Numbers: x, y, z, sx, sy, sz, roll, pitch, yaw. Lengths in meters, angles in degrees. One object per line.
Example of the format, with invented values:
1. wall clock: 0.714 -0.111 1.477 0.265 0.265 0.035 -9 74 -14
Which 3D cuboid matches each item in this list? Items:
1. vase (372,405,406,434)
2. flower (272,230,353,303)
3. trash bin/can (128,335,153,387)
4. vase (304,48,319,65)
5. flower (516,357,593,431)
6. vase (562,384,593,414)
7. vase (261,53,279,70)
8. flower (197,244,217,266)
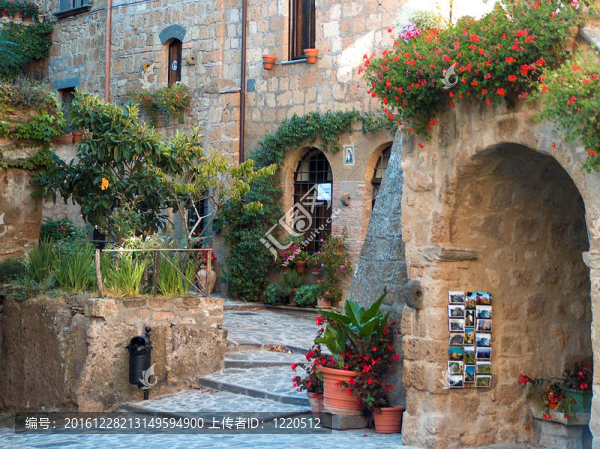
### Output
1. vase: 0.945 2.037 7.914 0.263 0.218 0.280 2 -2 -18
2. flower: 0.154 0.833 14.132 1.725 1.446 0.561 0 -5 39
3. trash bin/can: -2.106 1.800 9.777 0.315 0.668 0.257 4 -4 -16
4. vase: 0.230 -3.248 14.378 0.229 0.220 0.253 0 -6 0
5. flower: 2.594 1.683 7.602 0.607 0.528 0.636 -5 -7 40
6. vase: 2.781 1.755 7.488 0.213 0.257 0.290 2 -7 -6
7. vase: -0.611 -3.266 14.957 0.251 0.232 0.278 2 -10 1
8. flower: -1.633 0.546 13.050 0.286 0.280 0.370 -15 -27 -10
